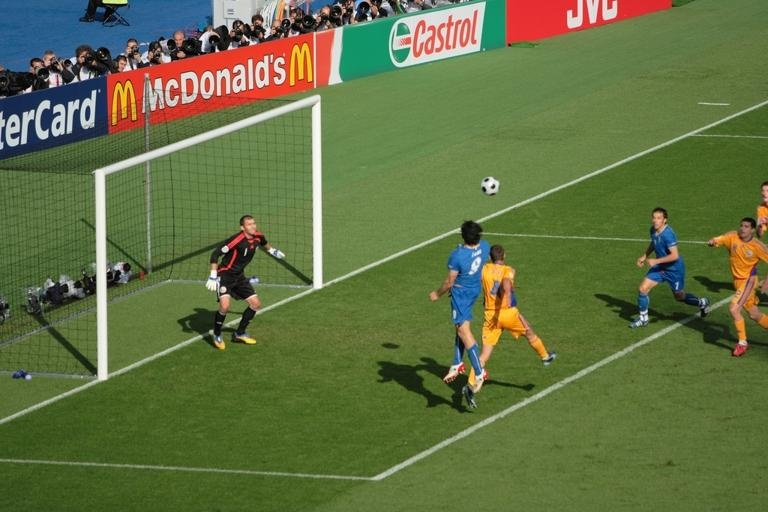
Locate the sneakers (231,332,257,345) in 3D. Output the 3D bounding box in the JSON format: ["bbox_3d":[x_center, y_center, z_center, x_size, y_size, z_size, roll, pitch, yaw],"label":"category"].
[{"bbox_3d":[-2.593,1.526,20.366,0.436,0.177,0.185,5,17,-4],"label":"sneakers"}]

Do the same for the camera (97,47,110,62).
[{"bbox_3d":[-7.527,-5.421,29.537,0.268,0.376,0.942,-11,15,-7],"label":"camera"}]

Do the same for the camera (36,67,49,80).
[{"bbox_3d":[-8.598,-4.598,27.758,0.311,0.276,0.326,10,7,-30],"label":"camera"}]

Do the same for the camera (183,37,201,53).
[{"bbox_3d":[-5.278,-5.802,30.118,0.434,0.389,0.396,2,14,-20],"label":"camera"}]

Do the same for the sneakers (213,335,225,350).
[{"bbox_3d":[-3.049,1.577,20.205,0.155,0.133,0.334,-4,21,-42],"label":"sneakers"}]

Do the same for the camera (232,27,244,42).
[{"bbox_3d":[-4.234,-6.359,31.590,0.232,0.342,0.405,-22,20,-39],"label":"camera"}]

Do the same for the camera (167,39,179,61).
[{"bbox_3d":[-5.745,-5.657,30.043,0.315,0.535,0.976,-12,15,-8],"label":"camera"}]

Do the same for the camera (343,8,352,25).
[{"bbox_3d":[-1.127,-7.559,34.516,0.172,0.497,0.540,11,18,-26],"label":"camera"}]

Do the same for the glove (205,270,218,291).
[{"bbox_3d":[-3.056,0.452,19.606,0.264,0.333,0.107,4,-3,-9],"label":"glove"}]

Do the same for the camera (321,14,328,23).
[{"bbox_3d":[-1.822,-7.291,33.595,0.288,0.149,0.377,0,-5,-5],"label":"camera"}]

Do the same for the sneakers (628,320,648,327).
[{"bbox_3d":[4.719,1.266,20.370,0.377,0.149,0.119,0,15,3],"label":"sneakers"}]

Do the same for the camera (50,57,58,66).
[{"bbox_3d":[-8.506,-5.016,28.322,0.073,0.203,0.207,14,23,-18],"label":"camera"}]

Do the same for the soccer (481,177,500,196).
[{"bbox_3d":[2.195,-1.431,22.561,0.293,0.371,0.494,-6,15,11],"label":"soccer"}]

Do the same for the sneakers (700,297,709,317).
[{"bbox_3d":[6.012,0.964,20.585,0.193,0.404,0.142,-7,21,0],"label":"sneakers"}]

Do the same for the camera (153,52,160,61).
[{"bbox_3d":[-6.084,-5.370,29.520,0.160,0.205,0.220,19,12,33],"label":"camera"}]

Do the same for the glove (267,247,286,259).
[{"bbox_3d":[-2.034,-0.060,20.703,0.309,0.175,0.127,29,-25,-38],"label":"glove"}]

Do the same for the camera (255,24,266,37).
[{"bbox_3d":[-3.629,-6.559,31.985,0.252,0.344,0.349,0,13,-4],"label":"camera"}]
